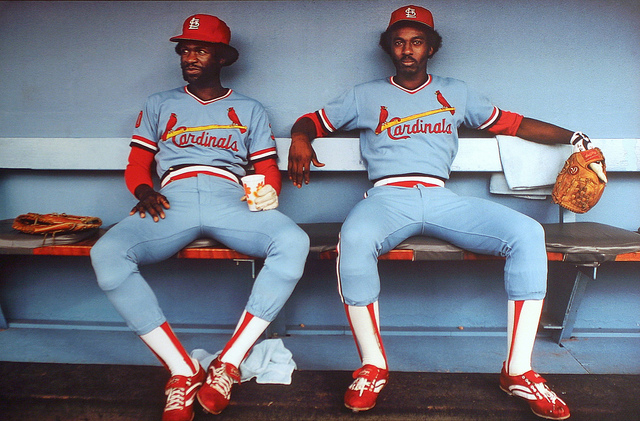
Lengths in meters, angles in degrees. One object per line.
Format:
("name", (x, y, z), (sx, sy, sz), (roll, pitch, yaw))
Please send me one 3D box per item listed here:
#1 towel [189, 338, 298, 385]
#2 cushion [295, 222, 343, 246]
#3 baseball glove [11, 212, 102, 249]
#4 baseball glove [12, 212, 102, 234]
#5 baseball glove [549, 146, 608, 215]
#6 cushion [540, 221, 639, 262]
("towel", (-0.272, 0.768, 3.281), (0.283, 0.152, 0.307), (0, 14, 4))
("cushion", (0.021, 0.121, 3.539), (0.224, 0.037, 0.123), (-1, 23, 9))
("baseball glove", (-1.420, 0.106, 3.473), (0.388, 0.105, 0.193), (0, 32, -10))
("baseball glove", (-1.414, 0.065, 3.428), (0.278, 0.057, 0.186), (2, 9, -5))
("baseball glove", (1.415, -0.170, 3.443), (0.305, 0.353, 0.147), (30, 22, 13))
("cushion", (1.417, 0.160, 3.341), (0.345, 0.060, 0.287), (-1, 16, 0))
